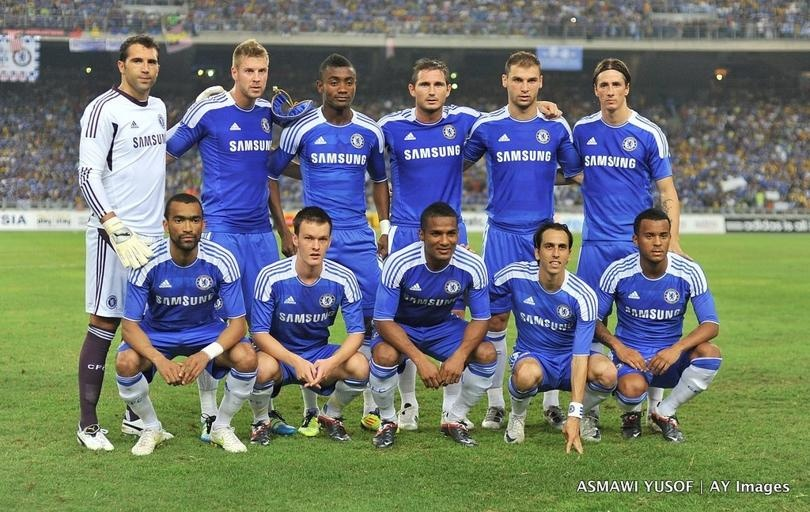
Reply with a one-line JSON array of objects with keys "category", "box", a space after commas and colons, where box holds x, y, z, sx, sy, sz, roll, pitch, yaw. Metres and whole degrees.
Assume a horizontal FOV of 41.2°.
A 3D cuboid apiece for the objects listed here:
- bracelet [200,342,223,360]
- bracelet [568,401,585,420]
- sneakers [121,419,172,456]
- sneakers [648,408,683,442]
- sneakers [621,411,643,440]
[{"category": "bracelet", "box": [-2.646, 1.325, 14.924, 0.302, 0.232, 0.152, -2, 9, -10]}, {"category": "bracelet", "box": [2.372, 2.147, 14.925, 0.235, 0.188, 0.240, 1, 1, -2]}, {"category": "sneakers", "box": [-3.518, 2.555, 14.936, 0.235, 0.272, 0.674, 7, 7, 20]}, {"category": "sneakers", "box": [3.694, 2.437, 15.155, 0.575, 0.246, 0.223, 45, 21, 21]}, {"category": "sneakers", "box": [3.200, 2.396, 15.234, 0.177, 0.479, 0.202, 0, 3, 18]}]
